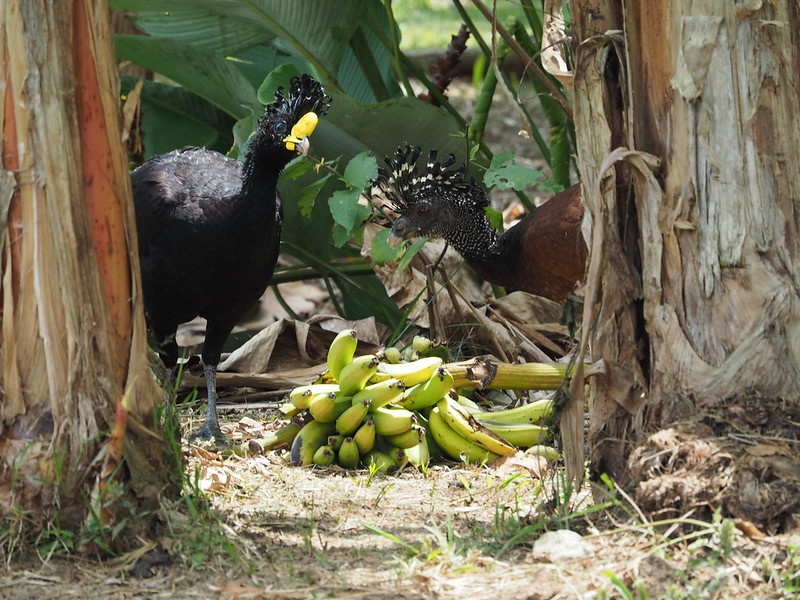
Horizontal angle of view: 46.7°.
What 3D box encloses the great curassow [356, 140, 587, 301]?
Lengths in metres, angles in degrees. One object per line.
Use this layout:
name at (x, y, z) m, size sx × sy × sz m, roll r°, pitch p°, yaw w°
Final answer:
great curassow at (0.427, -0.382, 4.743) m, size 1.012 × 0.872 × 0.627 m, roll -4°, pitch 7°, yaw 12°
